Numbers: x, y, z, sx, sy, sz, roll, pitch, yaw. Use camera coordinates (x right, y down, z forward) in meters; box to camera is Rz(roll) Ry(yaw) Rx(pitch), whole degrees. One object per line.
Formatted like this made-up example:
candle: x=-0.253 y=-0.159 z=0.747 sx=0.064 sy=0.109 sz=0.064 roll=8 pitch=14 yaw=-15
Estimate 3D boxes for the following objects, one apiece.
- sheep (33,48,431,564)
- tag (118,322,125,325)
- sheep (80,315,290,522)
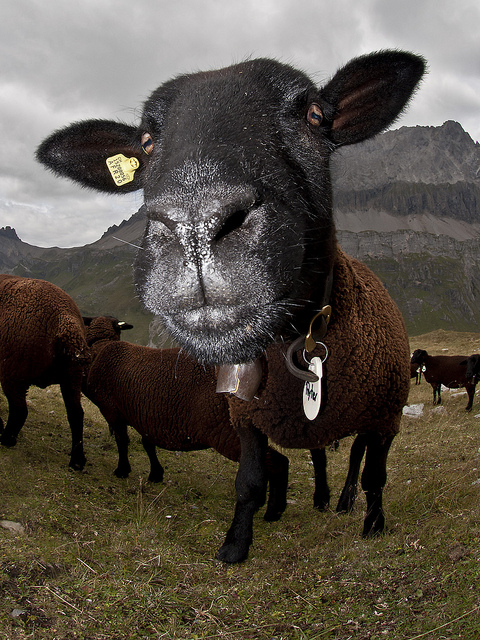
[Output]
sheep: x=0.257 y=0.120 z=4.383 sx=1.214 sy=3.806 sz=2.783 roll=11 pitch=1 yaw=34
tag: x=-2.330 y=0.065 z=11.362 sx=0.073 sy=0.029 sz=0.107 roll=2 pitch=6 yaw=26
sheep: x=-1.074 y=1.330 z=8.584 sx=4.960 sy=2.195 sz=1.588 roll=9 pitch=14 yaw=36
